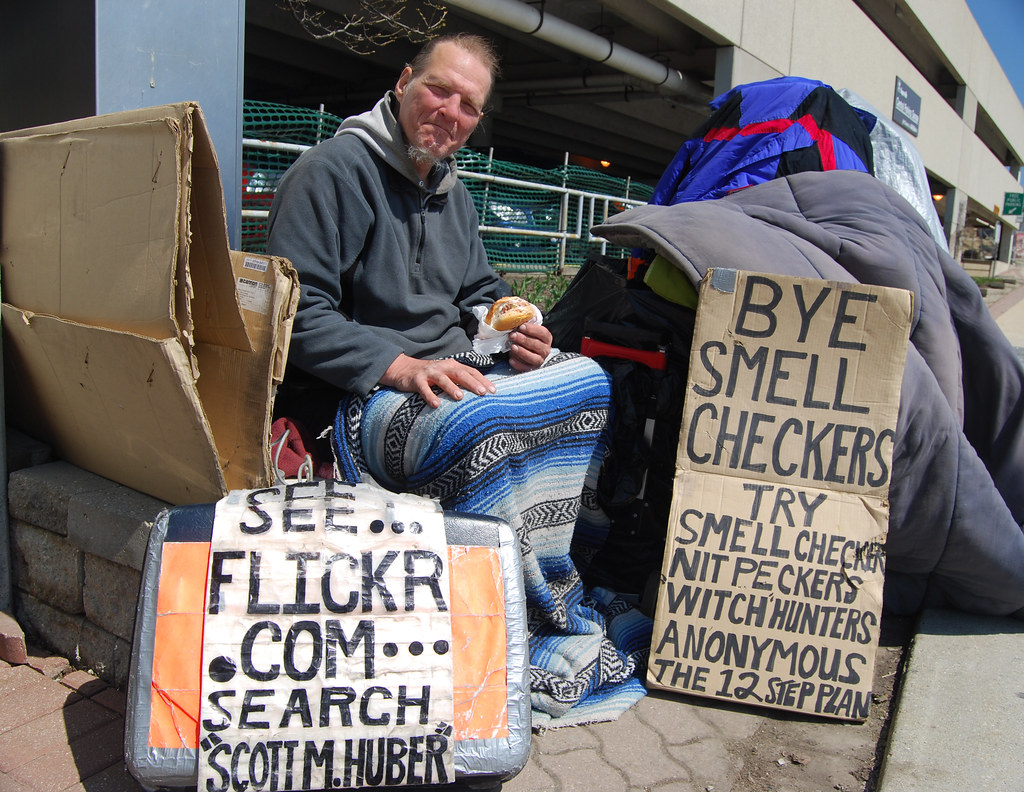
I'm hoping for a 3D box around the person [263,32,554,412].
[{"bbox_3d":[-0.322,-0.625,3.229,0.939,1.256,1.125,13,14,41],"label":"person"}]
